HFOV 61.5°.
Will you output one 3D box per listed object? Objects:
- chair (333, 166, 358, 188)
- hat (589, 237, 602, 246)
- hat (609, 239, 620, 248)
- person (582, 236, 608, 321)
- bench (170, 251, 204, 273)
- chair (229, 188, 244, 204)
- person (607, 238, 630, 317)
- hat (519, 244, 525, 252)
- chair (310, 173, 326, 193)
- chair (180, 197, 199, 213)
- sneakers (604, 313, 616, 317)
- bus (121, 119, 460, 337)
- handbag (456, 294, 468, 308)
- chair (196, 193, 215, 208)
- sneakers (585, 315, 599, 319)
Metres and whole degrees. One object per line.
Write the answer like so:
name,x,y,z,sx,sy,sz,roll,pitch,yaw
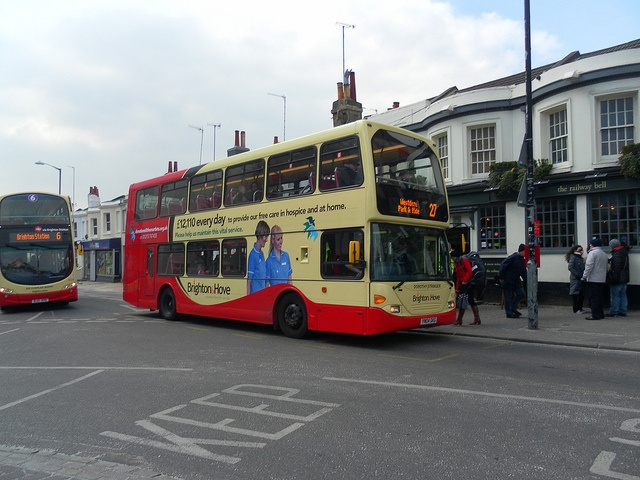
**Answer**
chair,0.586,-1.403,11.921,0.368,0.564,0.457,2,-5,-40
hat,8.021,0.075,15.602,0.348,0.340,0.296,-2,-2,36
hat,8.681,0.098,15.753,0.255,0.291,0.271,0,2,-8
person,7.832,1.088,15.247,0.615,2.175,1.045,2,4,29
bench,-4.036,0.599,16.288,0.059,0.930,1.408,7,5,43
chair,-2.284,-1.183,14.709,0.305,0.482,0.396,2,-2,-38
person,8.685,1.087,15.559,0.832,2.155,0.495,-2,4,-28
hat,5.867,0.226,15.576,0.148,0.232,0.190,5,2,4
chair,-0.027,-1.343,12.660,0.381,0.467,0.339,-1,-3,25
chair,-3.935,-1.063,16.354,0.435,0.552,0.317,-3,-3,37
sneakers,8.398,2.146,15.499,0.265,0.131,0.095,-3,-6,23
bus,-1.669,0.064,16.224,10.940,5.272,3.374,-3,-5,45
handbag,3.826,1.613,14.398,0.321,0.492,0.232,1,-3,-13
chair,-3.328,-1.094,15.722,0.458,0.574,0.375,-14,9,-8
sneakers,7.644,2.165,15.025,0.298,0.150,0.128,-5,-6,18
